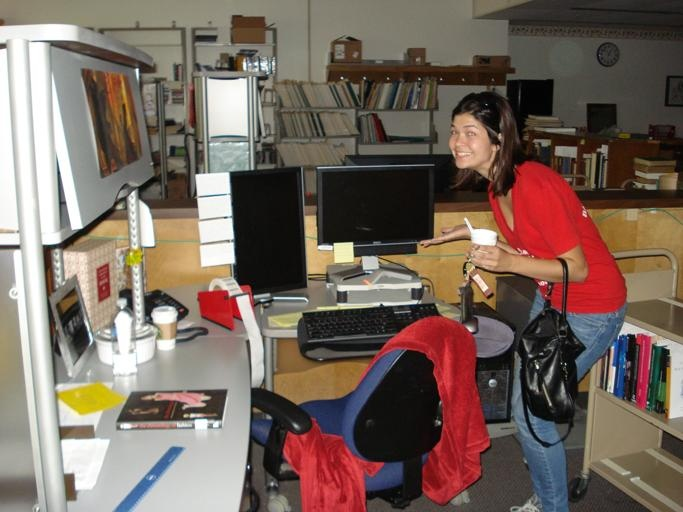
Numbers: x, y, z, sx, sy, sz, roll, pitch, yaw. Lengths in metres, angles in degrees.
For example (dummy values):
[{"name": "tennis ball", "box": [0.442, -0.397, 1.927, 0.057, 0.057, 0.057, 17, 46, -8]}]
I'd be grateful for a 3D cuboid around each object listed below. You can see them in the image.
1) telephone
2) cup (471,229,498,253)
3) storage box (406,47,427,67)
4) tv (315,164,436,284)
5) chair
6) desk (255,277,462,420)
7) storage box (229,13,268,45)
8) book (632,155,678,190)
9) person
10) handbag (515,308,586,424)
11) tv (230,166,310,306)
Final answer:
[{"name": "telephone", "box": [-0.733, 0.232, 2.270, 0.444, 0.174, 0.198, 14, 22, 36]}, {"name": "cup", "box": [0.542, -0.055, 2.040, 0.079, 0.063, 0.074, -1, 9, 0]}, {"name": "storage box", "box": [0.967, -2.554, 6.909, 0.224, 0.232, 0.234, 1, 15, 1]}, {"name": "tv", "box": [0.150, -0.168, 2.612, 0.577, 0.452, 0.063, -2, 4, -8]}, {"name": "chair", "box": [0.005, 0.534, 1.817, 0.600, 0.613, 0.374, 9, 17, 36]}, {"name": "desk", "box": [-0.075, 0.565, 2.852, 0.679, 0.462, 0.383, 4, 6, -1]}, {"name": "storage box", "box": [-1.181, -2.817, 6.766, 0.344, 0.238, 0.370, -5, 19, -20]}, {"name": "book", "box": [2.283, -0.593, 3.928, 0.258, 0.210, 0.886, 6, 15, 28]}, {"name": "person", "box": [0.761, 0.271, 2.201, 0.696, 1.825, 0.507, 6, 15, 28]}, {"name": "handbag", "box": [0.756, 0.384, 1.957, 0.220, 0.404, 0.147, 5, 14, 25]}, {"name": "tv", "box": [-0.347, -0.134, 2.541, 0.360, 0.602, 0.062, -3, -12, -10]}]
